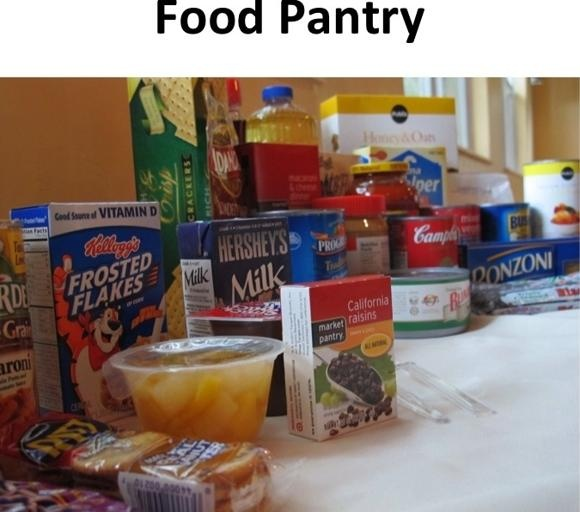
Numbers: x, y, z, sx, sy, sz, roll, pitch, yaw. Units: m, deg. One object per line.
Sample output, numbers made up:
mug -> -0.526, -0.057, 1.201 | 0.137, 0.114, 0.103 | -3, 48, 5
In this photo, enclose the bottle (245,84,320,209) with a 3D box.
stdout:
bottle -> -0.018, -0.213, 0.989 | 0.147, 0.233, 0.223 | 1, 10, -2
